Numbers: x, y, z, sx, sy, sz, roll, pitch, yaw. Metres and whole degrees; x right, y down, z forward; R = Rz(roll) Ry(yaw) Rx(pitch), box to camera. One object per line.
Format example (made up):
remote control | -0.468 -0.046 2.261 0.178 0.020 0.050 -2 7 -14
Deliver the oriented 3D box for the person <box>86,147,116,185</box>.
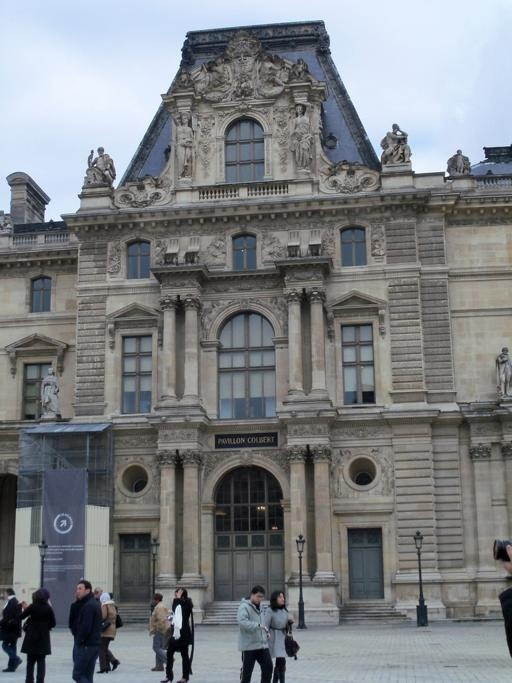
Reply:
person | -6.510 -7.257 45.111 1.195 1.884 0.856 1 -13 -10

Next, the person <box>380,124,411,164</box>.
person | 5.475 -7.841 42.827 1.117 1.835 1.288 -3 -13 6

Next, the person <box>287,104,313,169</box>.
person | 1.824 -8.156 43.281 0.831 2.938 0.693 -3 -13 5

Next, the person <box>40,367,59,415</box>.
person | -8.232 2.142 43.290 0.681 2.090 0.880 1 -13 -11

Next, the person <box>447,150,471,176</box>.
person | 8.225 -7.251 43.965 0.841 1.262 0.975 -3 -13 6
